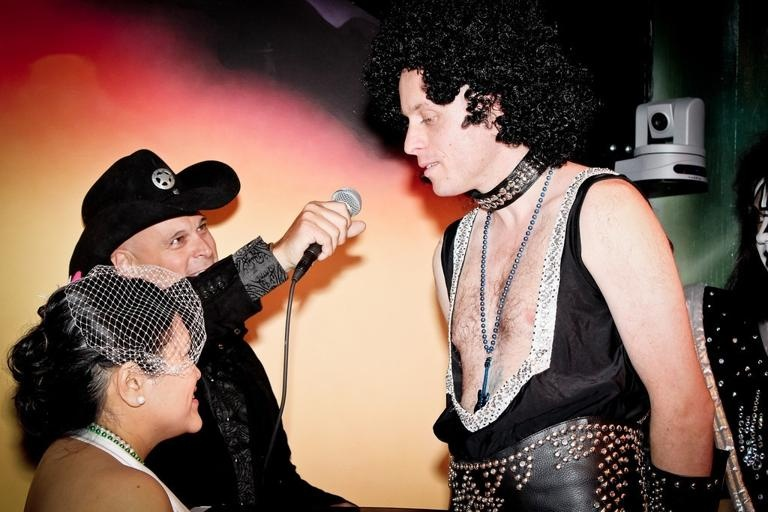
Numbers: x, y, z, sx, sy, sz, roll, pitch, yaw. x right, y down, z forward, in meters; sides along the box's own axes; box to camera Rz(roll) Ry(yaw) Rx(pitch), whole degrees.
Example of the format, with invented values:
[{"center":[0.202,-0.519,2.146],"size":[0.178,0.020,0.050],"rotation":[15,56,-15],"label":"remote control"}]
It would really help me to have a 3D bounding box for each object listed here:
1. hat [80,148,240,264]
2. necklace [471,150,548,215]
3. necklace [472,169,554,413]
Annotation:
[{"center":[-1.186,-0.319,3.461],"size":[0.742,0.298,0.615],"rotation":[-28,30,-33],"label":"hat"},{"center":[0.499,-0.273,2.885],"size":[0.236,0.085,0.205],"rotation":[-41,-4,11],"label":"necklace"},{"center":[0.514,0.115,2.870],"size":[0.283,0.950,0.047],"rotation":[-5,-22,44],"label":"necklace"}]
